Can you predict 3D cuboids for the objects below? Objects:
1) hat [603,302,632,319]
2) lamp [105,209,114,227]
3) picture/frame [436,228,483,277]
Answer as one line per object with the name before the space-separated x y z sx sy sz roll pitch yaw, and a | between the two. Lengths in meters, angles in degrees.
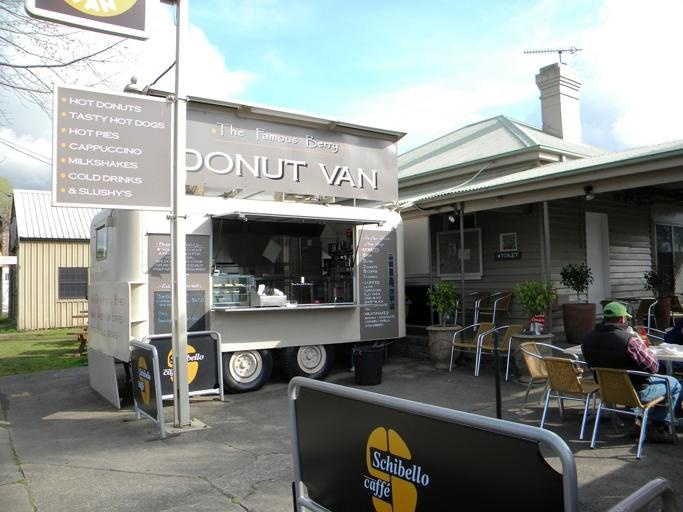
hat | 3.435 0.663 6.874 0.268 0.205 0.427 1 -3 44
lamp | -4.010 -0.656 9.537 0.130 0.330 0.472 0 -2 -31
picture/frame | 2.919 -0.105 13.420 1.191 1.377 0.094 -1 -9 37
